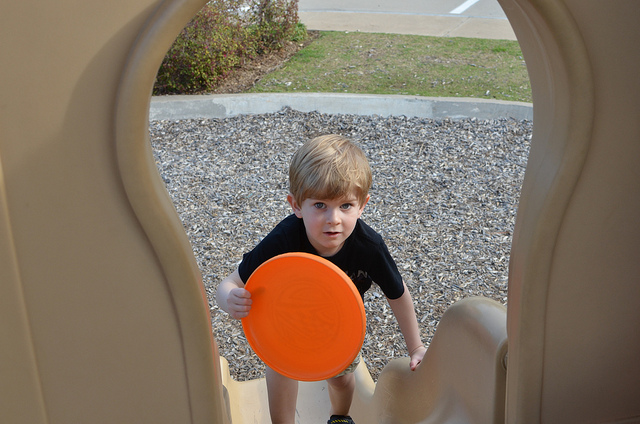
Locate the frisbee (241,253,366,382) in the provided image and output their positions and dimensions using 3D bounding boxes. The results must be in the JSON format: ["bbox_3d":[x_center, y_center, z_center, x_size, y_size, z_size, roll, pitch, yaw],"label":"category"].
[{"bbox_3d":[-0.058,0.355,2.294,0.392,0.449,0.071,15,11,-2],"label":"frisbee"}]
